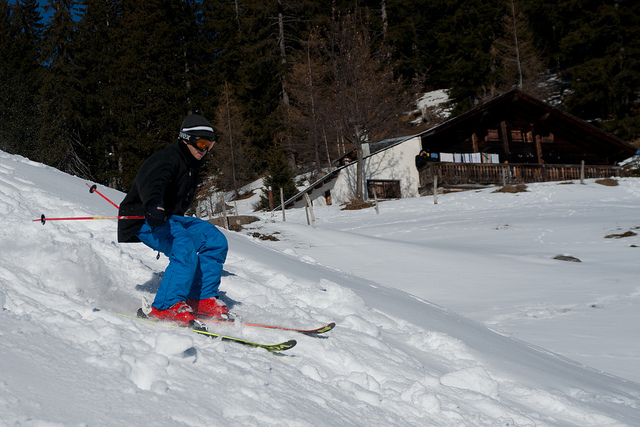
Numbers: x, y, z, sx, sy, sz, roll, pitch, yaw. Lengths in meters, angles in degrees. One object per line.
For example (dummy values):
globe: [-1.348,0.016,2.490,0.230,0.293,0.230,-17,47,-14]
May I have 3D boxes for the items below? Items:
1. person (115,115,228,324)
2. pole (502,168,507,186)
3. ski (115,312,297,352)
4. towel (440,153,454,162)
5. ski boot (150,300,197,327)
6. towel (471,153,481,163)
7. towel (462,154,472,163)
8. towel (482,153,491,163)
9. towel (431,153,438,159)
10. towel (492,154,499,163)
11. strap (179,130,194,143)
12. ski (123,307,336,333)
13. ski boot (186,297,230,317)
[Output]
person: [-1.779,0.033,6.890,1.125,2.544,0.860,4,-5,-43]
pole: [11.606,-2.445,34.906,0.202,0.929,0.118,-2,-5,41]
ski: [-1.403,1.382,6.449,1.558,0.121,0.191,13,-4,-7]
towel: [8.152,-3.645,35.604,0.611,0.750,0.673,0,-1,-1]
ski boot: [-1.778,1.197,6.667,0.727,0.292,0.231,6,-12,12]
towel: [10.132,-3.639,35.989,0.775,0.678,0.384,-2,6,-1]
towel: [9.521,-3.614,35.797,0.687,0.515,0.150,2,-4,-18]
towel: [11.016,-3.707,36.692,0.837,0.751,0.079,-1,3,3]
towel: [7.287,-3.774,35.718,0.431,0.258,0.107,-2,-7,-17]
towel: [11.635,-3.700,36.770,0.391,0.722,1.155,0,-3,12]
strap: [-1.653,-0.951,6.792,0.128,0.079,0.164,16,-2,-37]
ski: [-1.221,1.336,6.955,2.265,0.160,0.281,5,-14,-14]
ski boot: [-1.387,1.150,6.984,0.624,0.239,0.207,4,29,-2]
